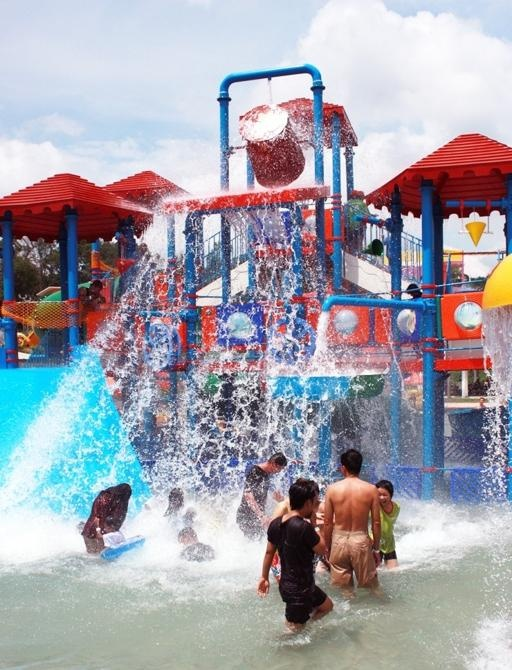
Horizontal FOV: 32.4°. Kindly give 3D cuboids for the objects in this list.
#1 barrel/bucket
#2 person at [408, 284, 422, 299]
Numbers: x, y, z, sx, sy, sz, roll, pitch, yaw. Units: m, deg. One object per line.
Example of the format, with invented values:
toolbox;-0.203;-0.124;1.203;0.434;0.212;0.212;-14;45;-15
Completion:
barrel/bucket;0.176;-2.391;11.195;0.784;1.018;0.769;0;5;0
person;2.135;-0.592;11.926;0.188;0.193;0.795;1;5;9
